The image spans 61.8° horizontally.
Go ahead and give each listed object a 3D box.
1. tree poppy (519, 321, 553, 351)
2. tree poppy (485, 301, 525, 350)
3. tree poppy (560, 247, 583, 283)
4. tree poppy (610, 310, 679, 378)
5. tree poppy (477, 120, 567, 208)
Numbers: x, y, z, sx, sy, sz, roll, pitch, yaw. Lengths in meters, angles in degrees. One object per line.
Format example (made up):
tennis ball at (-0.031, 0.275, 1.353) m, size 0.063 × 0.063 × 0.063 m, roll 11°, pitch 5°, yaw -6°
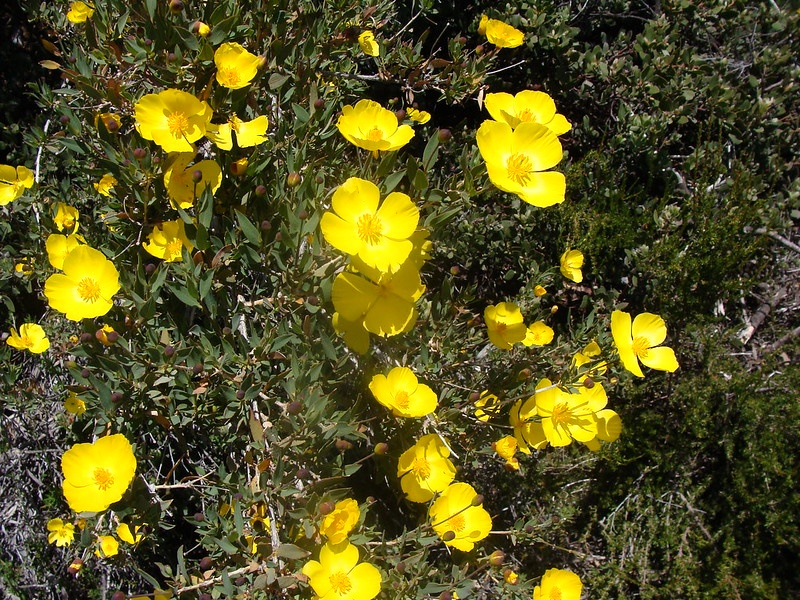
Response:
tree poppy at (0.623, 0.169, 3.043) m, size 0.121 × 0.062 × 0.126 m, roll -23°, pitch 64°, yaw -2°
tree poppy at (0.456, 0.111, 2.878) m, size 0.158 × 0.090 × 0.205 m, roll 1°, pitch 84°, yaw 2°
tree poppy at (0.815, -0.161, 3.231) m, size 0.120 × 0.070 × 0.152 m, roll 17°, pitch 78°, yaw -29°
tree poppy at (1.079, 0.200, 2.963) m, size 0.196 × 0.339 × 0.296 m, roll 3°, pitch 102°, yaw 3°
tree poppy at (0.428, -0.485, 2.367) m, size 0.350 × 0.134 × 0.281 m, roll 1°, pitch 70°, yaw -15°
